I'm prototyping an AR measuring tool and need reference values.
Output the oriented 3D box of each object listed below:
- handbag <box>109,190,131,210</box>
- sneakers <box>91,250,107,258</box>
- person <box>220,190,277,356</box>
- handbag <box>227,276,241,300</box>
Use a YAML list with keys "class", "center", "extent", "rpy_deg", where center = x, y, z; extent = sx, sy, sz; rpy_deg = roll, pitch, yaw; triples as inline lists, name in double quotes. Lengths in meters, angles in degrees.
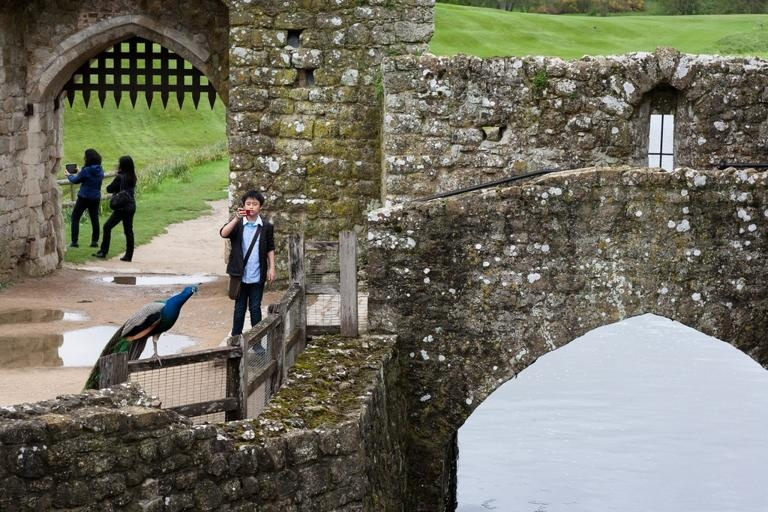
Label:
- class: "handbag"
  center: [-4.132, -0.896, 18.476]
  extent: [0.316, 0.282, 0.131]
  rpy_deg: [4, 4, 39]
- class: "sneakers"
  center: [-4.624, -0.034, 19.011]
  extent: [0.213, 0.189, 0.108]
  rpy_deg: [7, -2, 12]
- class: "person"
  center: [-1.439, 0.087, 12.708]
  extent: [0.613, 1.555, 0.536]
  rpy_deg: [-10, 13, -14]
- class: "handbag"
  center: [-1.628, 0.344, 12.672]
  extent: [0.157, 0.277, 0.132]
  rpy_deg: [5, 18, 43]
